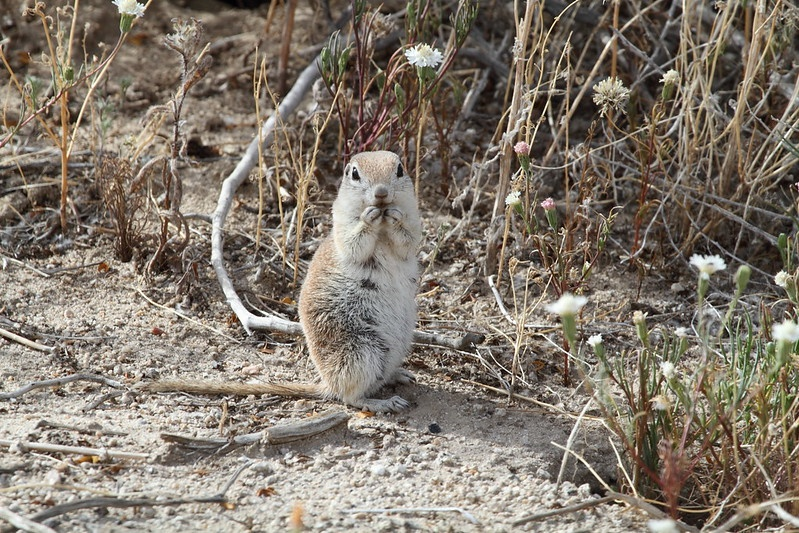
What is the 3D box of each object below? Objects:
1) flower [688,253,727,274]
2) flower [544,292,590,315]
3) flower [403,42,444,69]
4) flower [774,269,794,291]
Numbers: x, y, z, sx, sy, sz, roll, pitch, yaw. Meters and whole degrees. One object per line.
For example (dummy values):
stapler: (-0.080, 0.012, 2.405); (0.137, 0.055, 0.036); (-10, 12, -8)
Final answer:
flower: (2.107, -0.023, 5.674); (0.142, 0.062, 0.151); (9, 17, 11)
flower: (1.111, 0.246, 5.519); (0.196, 0.098, 0.187); (-18, 14, -35)
flower: (0.234, -1.683, 6.511); (0.264, 0.080, 0.268); (26, 38, 33)
flower: (2.662, 0.091, 5.716); (0.122, 0.128, 0.069); (23, 37, -17)
